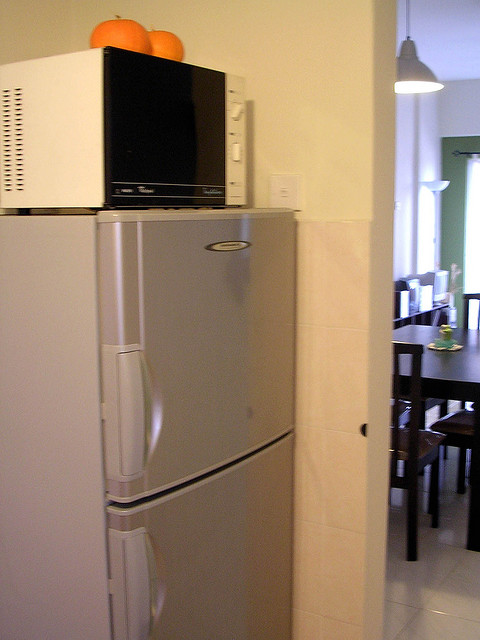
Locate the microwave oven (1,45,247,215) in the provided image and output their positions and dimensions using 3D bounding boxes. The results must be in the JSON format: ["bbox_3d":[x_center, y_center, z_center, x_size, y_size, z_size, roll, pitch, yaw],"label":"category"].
[{"bbox_3d":[-0.264,-0.325,1.262,0.356,0.405,0.476,7,15,31],"label":"microwave oven"}]
